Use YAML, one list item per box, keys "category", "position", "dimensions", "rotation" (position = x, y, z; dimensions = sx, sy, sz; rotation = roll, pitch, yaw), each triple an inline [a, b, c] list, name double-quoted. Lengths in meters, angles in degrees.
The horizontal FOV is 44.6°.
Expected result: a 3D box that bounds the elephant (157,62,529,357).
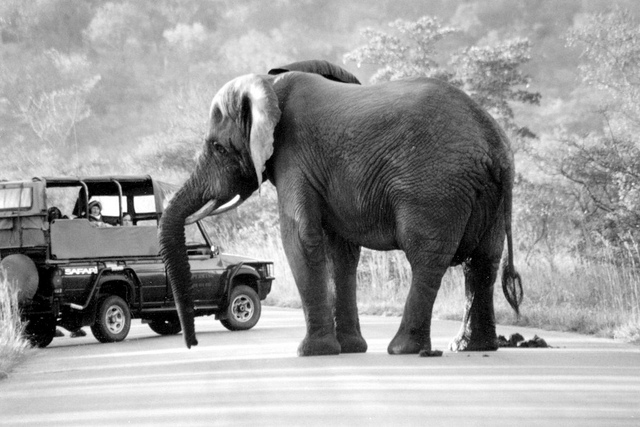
- category: "elephant"
  position: [0.117, -0.001, 11.524]
  dimensions: [5.194, 4.319, 2.690]
  rotation: [0, 7, 19]
